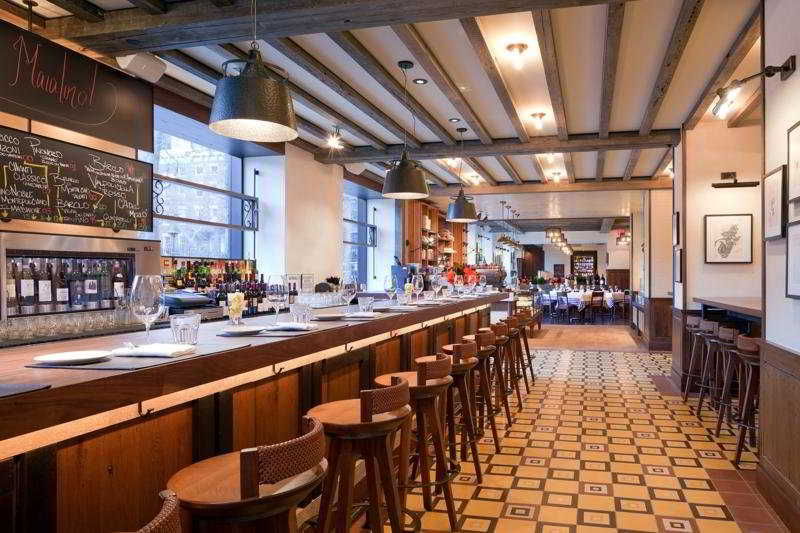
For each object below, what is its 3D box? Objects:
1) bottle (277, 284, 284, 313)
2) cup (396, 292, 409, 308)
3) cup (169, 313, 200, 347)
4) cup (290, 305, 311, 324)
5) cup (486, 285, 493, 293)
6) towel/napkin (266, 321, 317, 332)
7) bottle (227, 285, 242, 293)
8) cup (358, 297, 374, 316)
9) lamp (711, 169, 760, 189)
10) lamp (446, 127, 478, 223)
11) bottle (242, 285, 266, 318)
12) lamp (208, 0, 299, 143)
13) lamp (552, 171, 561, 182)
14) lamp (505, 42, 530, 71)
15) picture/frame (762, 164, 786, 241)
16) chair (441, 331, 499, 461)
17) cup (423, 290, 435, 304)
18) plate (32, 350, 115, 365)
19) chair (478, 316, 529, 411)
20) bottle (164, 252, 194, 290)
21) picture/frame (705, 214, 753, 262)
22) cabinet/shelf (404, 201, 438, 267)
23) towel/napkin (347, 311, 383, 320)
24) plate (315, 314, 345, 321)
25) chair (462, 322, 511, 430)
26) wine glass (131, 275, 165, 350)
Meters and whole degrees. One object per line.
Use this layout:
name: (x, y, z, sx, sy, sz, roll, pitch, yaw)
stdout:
bottle: (-0.830, 0.204, 3.849, 0.042, 0.163, 0.169, -2, 3, -12)
cup: (0.024, 0.324, 5.349, 0.131, 0.109, 0.127, -1, -4, 0)
cup: (-1.194, 0.364, 3.100, 0.184, 0.180, 0.172, 0, -4, 0)
cup: (-0.724, 0.342, 3.984, 0.150, 0.153, 0.146, 0, -4, 0)
cup: (1.578, 0.386, 9.488, 0.090, 0.083, 0.048, -9, -22, 24)
towel/napkin: (-0.706, 0.394, 3.706, 0.319, 0.038, 0.380, -1, 3, 3)
bottle: (-1.901, 0.248, 6.208, 0.097, 0.093, 0.175, 1, -1, -43)
cup: (-0.263, 0.335, 4.616, 0.145, 0.149, 0.141, 0, -6, 0)
lamp: (4.371, -1.129, 7.028, 0.556, 0.226, 0.120, -1, 4, 7)
lamp: (0.929, -1.359, 7.995, 0.483, 1.248, 0.484, 9, 16, 40)
bottle: (-1.778, 0.398, 6.506, 0.225, 0.391, 0.520, -1, 3, 6)
lamp: (-0.967, -1.439, 3.769, 0.544, 1.124, 0.777, -1, 4, 4)
lamp: (3.119, -1.785, 10.714, 0.120, 0.131, 0.123, -20, 30, -31)
lamp: (1.177, -2.126, 5.429, 0.223, 0.228, 0.217, 5, -8, -8)
picture/frame: (3.082, -0.515, 4.444, 0.113, 0.583, 0.520, 1, 4, 27)
chair: (0.442, 1.132, 4.683, 0.480, 0.798, 0.470, 0, -19, -17)
cup: (0.345, 0.342, 6.195, 0.125, 0.142, 0.122, 0, -7, 0)
plate: (-1.655, 0.456, 2.753, 0.380, 0.043, 0.223, -1, 3, 4)
chair: (1.295, 1.188, 6.821, 0.528, 0.819, 0.542, -11, 4, 38)
bottle: (-2.574, 0.055, 6.452, 0.290, 0.362, 0.503, 0, 3, 11)
picture/frame: (4.357, -0.401, 7.105, 0.646, 0.739, 0.028, -2, 4, 3)
cabinet/shelf: (0.503, -0.800, 12.861, 0.413, 1.547, 1.899, 0, 3, 14)
towel/napkin: (-0.281, 0.391, 4.388, 0.289, 0.021, 0.479, -1, 3, -8)
plate: (-0.536, 0.385, 4.190, 0.239, 0.045, 0.241, -1, 3, -6)
chair: (0.852, 1.299, 6.144, 0.610, 0.952, 0.609, -9, -6, -12)
wine glass: (-1.338, 0.187, 2.875, 0.156, 0.279, 0.132, 1, 4, 25)
